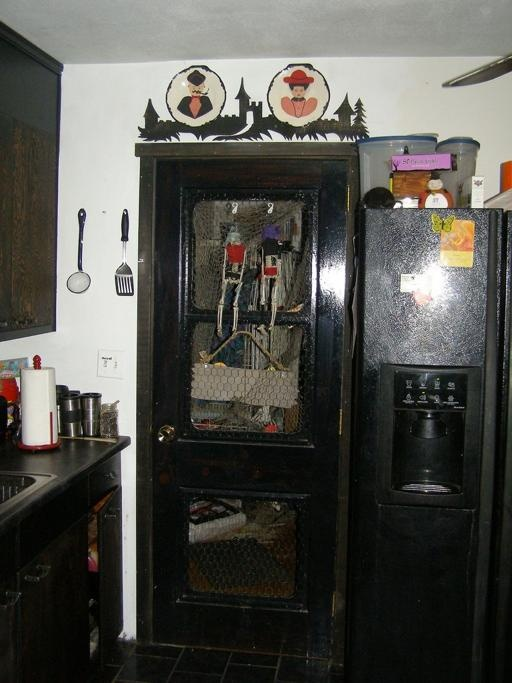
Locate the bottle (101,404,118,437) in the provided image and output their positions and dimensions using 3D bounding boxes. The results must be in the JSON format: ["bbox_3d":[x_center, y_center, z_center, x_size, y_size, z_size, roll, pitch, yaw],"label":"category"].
[{"bbox_3d":[-0.560,0.294,2.319,0.065,0.118,0.102,0,4,-14],"label":"bottle"}]

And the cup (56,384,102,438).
[{"bbox_3d":[-0.652,0.268,2.353,0.208,0.187,0.119,-1,3,-36],"label":"cup"}]

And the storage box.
[{"bbox_3d":[0.528,-0.555,2.004,0.384,0.237,0.166,1,3,9],"label":"storage box"}]

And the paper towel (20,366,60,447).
[{"bbox_3d":[-0.744,0.225,2.089,0.120,0.274,0.127,-1,3,-20],"label":"paper towel"}]
